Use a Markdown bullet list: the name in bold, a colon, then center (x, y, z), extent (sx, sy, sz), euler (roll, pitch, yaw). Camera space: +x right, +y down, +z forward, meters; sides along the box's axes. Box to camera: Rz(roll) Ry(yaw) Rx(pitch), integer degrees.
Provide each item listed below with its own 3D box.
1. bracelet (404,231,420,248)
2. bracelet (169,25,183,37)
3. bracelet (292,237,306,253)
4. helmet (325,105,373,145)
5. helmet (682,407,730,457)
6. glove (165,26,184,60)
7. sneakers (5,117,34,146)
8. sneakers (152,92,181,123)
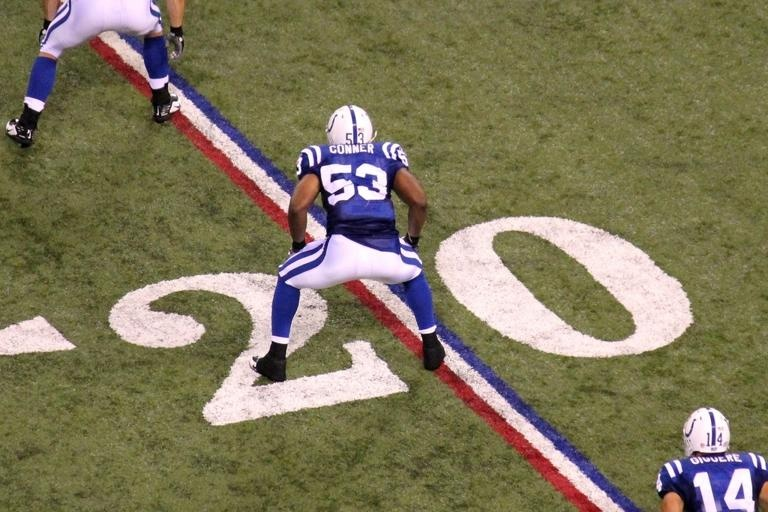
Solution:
- **bracelet**: center (0.273, -0.152, 11.730), extent (0.103, 0.134, 0.127), euler (-6, 77, -20)
- **bracelet**: center (-2.168, -2.351, 13.307), extent (0.130, 0.121, 0.082), euler (4, 25, 1)
- **bracelet**: center (-0.754, -0.097, 11.429), extent (0.134, 0.084, 0.127), euler (1, 89, 3)
- **helmet**: center (-0.299, -1.198, 11.441), extent (0.314, 0.332, 0.398), euler (-3, 31, -9)
- **helmet**: center (2.706, 1.465, 10.656), extent (0.320, 0.426, 0.351), euler (1, 106, 4)
- **glove**: center (-2.203, -2.254, 13.373), extent (0.150, 0.190, 0.426), euler (0, 92, 1)
- **sneakers**: center (-3.611, -1.206, 12.646), extent (0.166, 0.172, 0.363), euler (-56, 48, 20)
- **sneakers**: center (-2.219, -1.504, 13.131), extent (0.161, 0.191, 0.403), euler (18, 43, 23)
